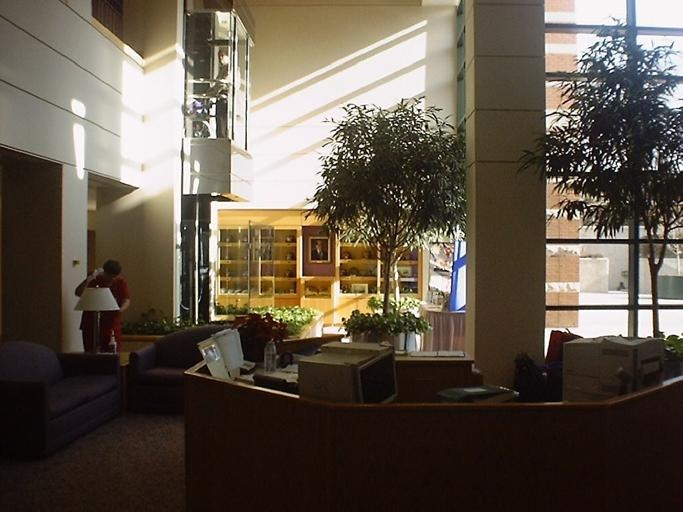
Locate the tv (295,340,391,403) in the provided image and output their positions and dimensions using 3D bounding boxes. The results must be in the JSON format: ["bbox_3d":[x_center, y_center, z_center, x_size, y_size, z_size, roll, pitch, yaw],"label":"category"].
[{"bbox_3d":[0.022,0.910,4.577,0.482,0.392,0.516,-2,-3,25],"label":"tv"}]

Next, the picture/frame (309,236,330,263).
[{"bbox_3d":[-0.524,-0.164,13.987,0.577,0.753,0.052,0,-2,1],"label":"picture/frame"}]

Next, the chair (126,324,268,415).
[{"bbox_3d":[-1.982,1.218,7.790,1.419,1.483,1.196,0,-7,0],"label":"chair"}]

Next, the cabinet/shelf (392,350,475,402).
[{"bbox_3d":[0.876,1.139,5.571,0.633,0.653,0.435,0,-2,1],"label":"cabinet/shelf"}]

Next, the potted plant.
[{"bbox_3d":[0.652,1.045,8.916,0.997,0.602,1.160,-1,-2,17],"label":"potted plant"}]
